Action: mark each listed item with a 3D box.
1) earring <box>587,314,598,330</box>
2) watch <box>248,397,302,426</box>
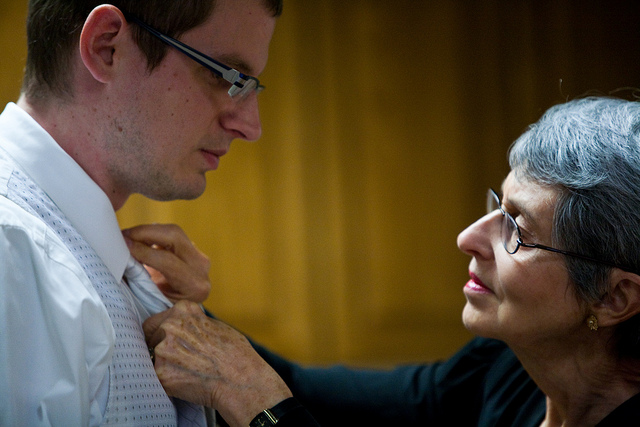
[{"bbox_3d":[0.720,0.286,1.877,0.025,0.039,0.006,-2,6,19],"label":"earring"},{"bbox_3d":[-0.118,0.525,1.887,0.061,0.106,0.103,35,35,18],"label":"watch"}]
